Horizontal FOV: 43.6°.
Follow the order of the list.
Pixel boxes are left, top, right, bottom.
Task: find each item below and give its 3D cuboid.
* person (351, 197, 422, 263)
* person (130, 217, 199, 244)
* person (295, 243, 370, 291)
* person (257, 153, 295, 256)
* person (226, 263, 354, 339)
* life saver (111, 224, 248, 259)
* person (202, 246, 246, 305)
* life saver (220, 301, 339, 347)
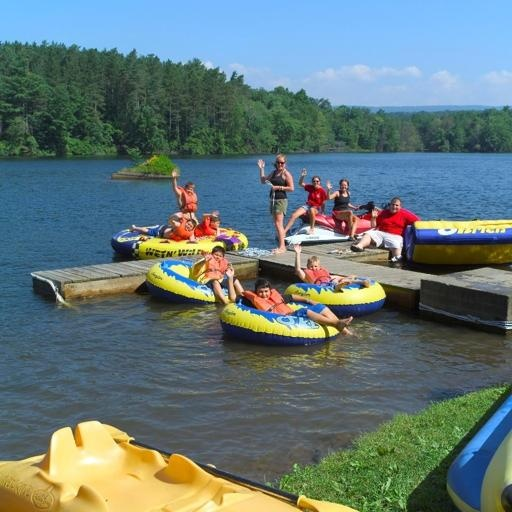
[{"bbox_3d":[2.973,-0.651,14.883,1.557,0.843,1.897,12,27,34],"label":"person"},{"bbox_3d":[-2.114,-0.587,14.857,1.616,0.547,1.023,-5,11,-14],"label":"person"},{"bbox_3d":[1.164,0.205,10.784,1.204,0.538,0.805,9,10,41],"label":"person"},{"bbox_3d":[0.484,-1.163,14.000,0.918,2.007,0.778,7,20,30],"label":"person"},{"bbox_3d":[0.415,0.839,9.461,1.817,0.486,1.370,13,16,20],"label":"person"},{"bbox_3d":[-1.572,-0.343,15.746,3.846,0.610,3.015,1,14,-8],"label":"life saver"},{"bbox_3d":[-0.555,0.329,11.200,0.950,0.888,0.782,-8,18,-30],"label":"person"},{"bbox_3d":[0.234,0.948,9.546,1.678,0.305,1.366,4,9,-22],"label":"life saver"}]
